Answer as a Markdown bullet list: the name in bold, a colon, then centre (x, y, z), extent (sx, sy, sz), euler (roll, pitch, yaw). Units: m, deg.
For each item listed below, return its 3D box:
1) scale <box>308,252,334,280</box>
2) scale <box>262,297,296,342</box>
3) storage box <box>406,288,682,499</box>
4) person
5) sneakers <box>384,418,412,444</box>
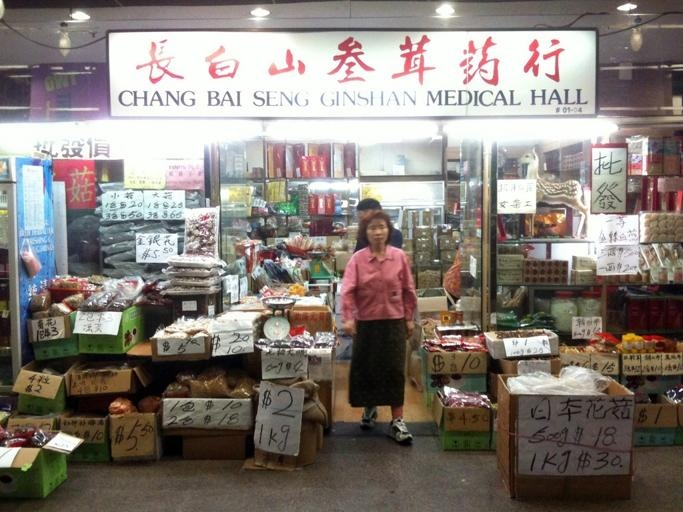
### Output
- **scale**: centre (-0.220, 0.099, 6.171), extent (0.258, 0.310, 0.267), euler (-1, 0, -1)
- **scale**: centre (-0.521, 0.498, 4.654), extent (0.245, 0.315, 0.246), euler (-2, 11, -16)
- **storage box**: centre (1.544, 1.049, 4.487), extent (1.208, 0.755, 1.187), euler (-1, 6, 4)
- **person**: centre (0.282, 0.547, 4.637), extent (0.560, 1.796, 0.260), euler (-1, 3, 6)
- **sneakers**: centre (0.446, 1.375, 4.697), extent (0.097, 0.118, 0.244), euler (2, -9, -14)
